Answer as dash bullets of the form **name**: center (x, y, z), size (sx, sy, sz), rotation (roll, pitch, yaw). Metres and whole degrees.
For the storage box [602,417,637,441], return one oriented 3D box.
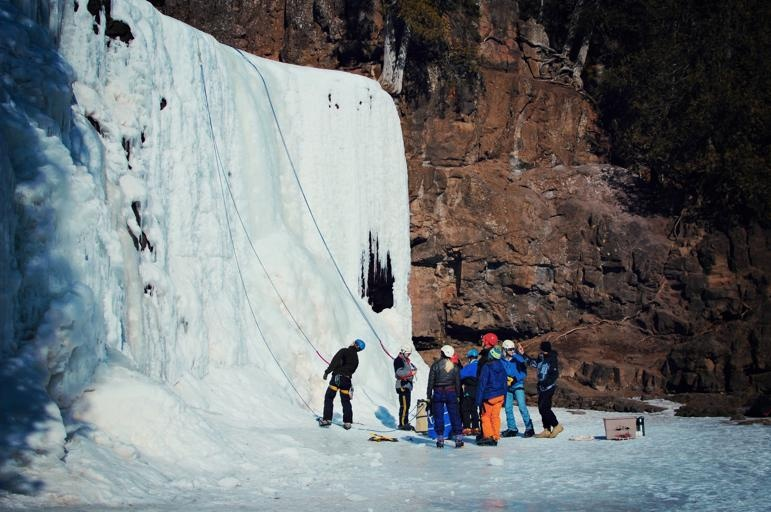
- **storage box**: center (7.035, 5.178, 43.538), size (1.031, 0.784, 0.611), rotation (0, 5, -7)

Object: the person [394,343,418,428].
- **person**: center (0.536, 4.159, 44.840), size (0.605, 2.393, 0.800), rotation (4, 10, 14)

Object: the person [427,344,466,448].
- **person**: center (1.774, 4.191, 43.157), size (1.062, 2.989, 0.956), rotation (-1, 2, -1)

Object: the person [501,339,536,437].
- **person**: center (3.985, 4.049, 44.319), size (0.903, 2.877, 1.112), rotation (1, -3, -5)

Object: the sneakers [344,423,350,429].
- **sneakers**: center (-1.163, 5.222, 44.226), size (0.152, 0.150, 0.157), rotation (0, 1, -24)

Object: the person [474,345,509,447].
- **person**: center (3.179, 4.181, 42.778), size (0.974, 2.733, 0.863), rotation (-1, 0, -37)
